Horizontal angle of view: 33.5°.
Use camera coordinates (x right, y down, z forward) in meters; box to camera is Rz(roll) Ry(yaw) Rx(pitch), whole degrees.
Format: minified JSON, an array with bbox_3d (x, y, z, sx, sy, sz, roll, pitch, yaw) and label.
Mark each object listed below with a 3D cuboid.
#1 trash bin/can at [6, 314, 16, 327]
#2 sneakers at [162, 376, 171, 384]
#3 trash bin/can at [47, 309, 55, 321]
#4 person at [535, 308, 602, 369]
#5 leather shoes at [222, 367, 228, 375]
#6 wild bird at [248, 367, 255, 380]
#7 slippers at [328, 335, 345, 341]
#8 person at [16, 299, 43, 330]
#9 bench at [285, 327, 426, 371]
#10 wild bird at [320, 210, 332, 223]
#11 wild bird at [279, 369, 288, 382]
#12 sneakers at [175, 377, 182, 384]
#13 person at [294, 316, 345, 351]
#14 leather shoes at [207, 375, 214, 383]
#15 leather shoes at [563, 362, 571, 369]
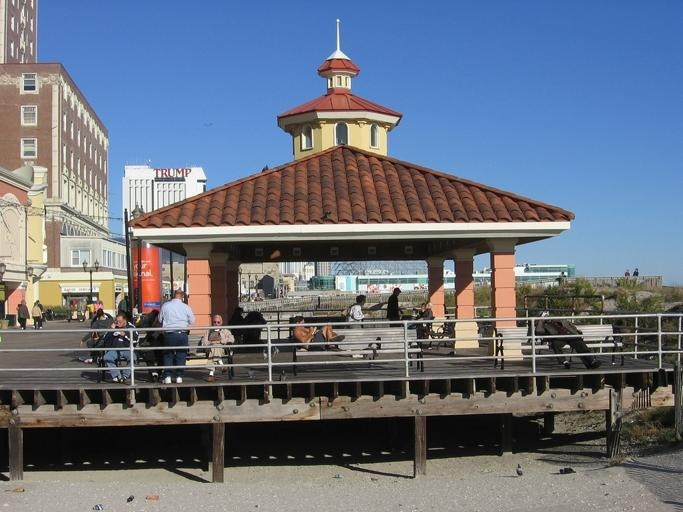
[{"bbox_3d":[-17.709,3.448,60.976,0.609,0.586,1.096,0,-2,-13],"label":"trash bin/can"},{"bbox_3d":[-5.040,3.560,32.762,0.271,0.164,0.437,-2,8,-10],"label":"sneakers"},{"bbox_3d":[-18.053,3.610,70.382,0.566,0.765,0.625,-1,2,-5],"label":"trash bin/can"},{"bbox_3d":[6.625,2.367,34.084,1.367,1.045,2.804,-14,28,-5],"label":"person"},{"bbox_3d":[-3.515,3.462,34.243,0.179,0.206,0.229,-1,-22,1],"label":"leather shoes"},{"bbox_3d":[-2.695,3.487,33.634,0.186,0.328,0.183,0,-5,-44],"label":"wild bird"},{"bbox_3d":[-0.191,2.445,33.821,0.513,0.162,0.337,-11,-1,-28],"label":"slippers"},{"bbox_3d":[-15.947,3.004,58.008,1.619,1.936,0.670,0,6,-6],"label":"person"},{"bbox_3d":[-0.088,2.726,33.909,2.689,0.842,0.898,-3,14,26],"label":"bench"},{"bbox_3d":[-0.496,-1.258,35.495,0.133,0.350,0.348,13,-51,-18],"label":"wild bird"},{"bbox_3d":[-1.737,3.474,33.176,0.248,0.410,0.244,-1,2,7],"label":"wild bird"},{"bbox_3d":[-4.705,3.592,32.880,0.159,0.132,0.155,0,2,-4],"label":"sneakers"},{"bbox_3d":[-0.723,2.321,34.877,1.642,0.986,0.811,-6,5,-14],"label":"person"},{"bbox_3d":[-3.827,3.566,33.073,0.139,0.162,0.178,1,1,10],"label":"leather shoes"},{"bbox_3d":[6.709,3.257,33.959,0.089,0.257,0.104,-9,-6,26],"label":"leather shoes"}]
